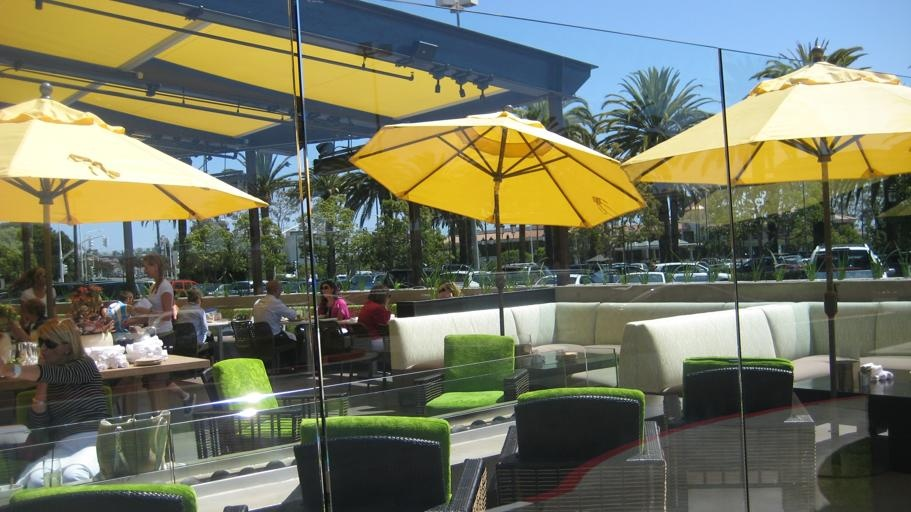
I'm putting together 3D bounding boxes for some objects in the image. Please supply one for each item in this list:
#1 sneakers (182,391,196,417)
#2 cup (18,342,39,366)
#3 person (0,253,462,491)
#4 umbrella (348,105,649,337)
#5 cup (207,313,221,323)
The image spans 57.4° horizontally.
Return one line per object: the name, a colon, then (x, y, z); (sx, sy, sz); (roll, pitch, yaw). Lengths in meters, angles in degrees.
sneakers: (-1.493, 0.827, 4.672); (0.062, 0.135, 0.052); (4, 2, -8)
cup: (-2.370, 0.542, 4.626); (0.123, 0.107, 0.117); (-3, -10, 0)
person: (-1.442, 0.656, 4.528); (2.115, 1.290, 0.447); (-4, -2, -6)
umbrella: (0.222, -0.494, 5.234); (1.625, 1.100, 1.417); (19, -30, -31)
cup: (-1.362, 0.342, 4.707); (0.100, 0.050, 0.064); (5, 2, -7)
